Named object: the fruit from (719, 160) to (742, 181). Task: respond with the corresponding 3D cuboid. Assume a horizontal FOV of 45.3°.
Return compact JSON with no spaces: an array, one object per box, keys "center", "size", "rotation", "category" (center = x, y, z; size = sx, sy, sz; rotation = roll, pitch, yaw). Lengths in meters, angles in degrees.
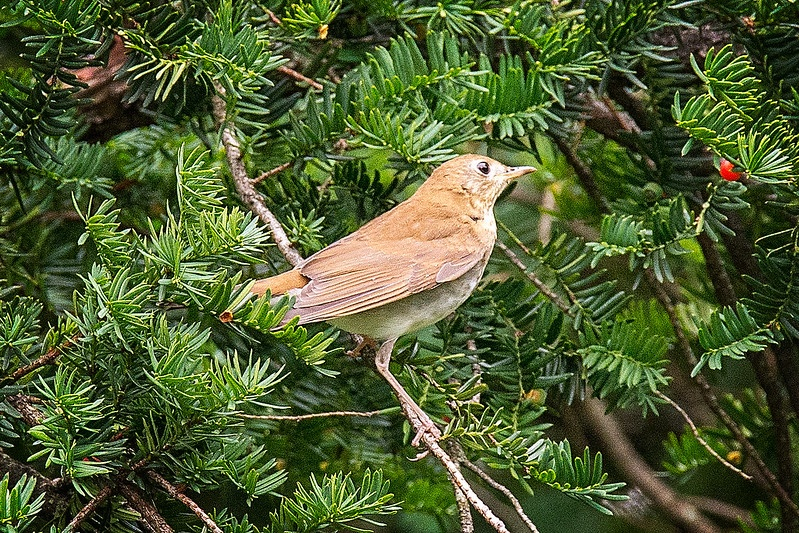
[{"center":[1.293,-0.382,3.751],"size":[0.069,0.086,0.075],"rotation":[-9,80,25],"category":"fruit"}]
